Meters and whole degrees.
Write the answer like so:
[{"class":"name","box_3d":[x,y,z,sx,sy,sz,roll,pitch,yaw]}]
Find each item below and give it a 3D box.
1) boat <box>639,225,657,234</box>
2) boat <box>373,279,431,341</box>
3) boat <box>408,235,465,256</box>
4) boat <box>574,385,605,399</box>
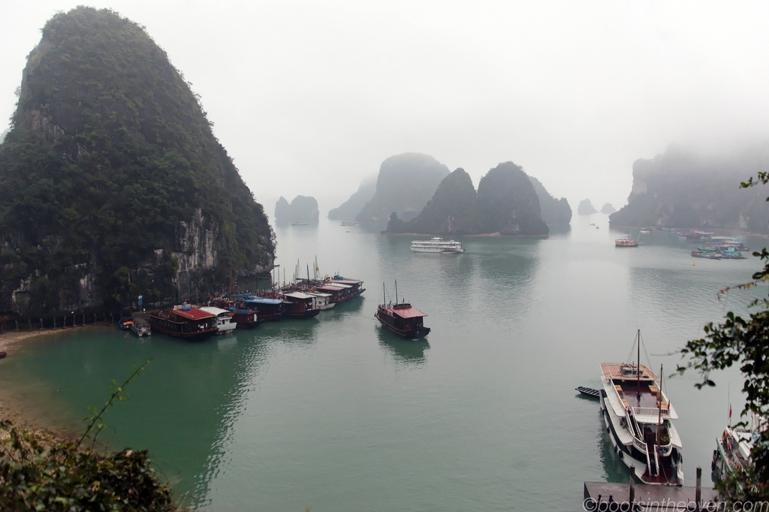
[{"class":"boat","box_3d":[121.368,-12.189,269.885,4.168,2.212,5.916,5,13,35]},{"class":"boat","box_3d":[3.330,9.563,90.211,6.856,3.475,11.829,-4,10,-22]},{"class":"boat","box_3d":[15.621,-2.978,181.196,12.913,2.716,15.283,-4,10,-21]},{"class":"boat","box_3d":[24.376,16.213,70.087,3.833,0.709,1.080,6,19,39]}]
